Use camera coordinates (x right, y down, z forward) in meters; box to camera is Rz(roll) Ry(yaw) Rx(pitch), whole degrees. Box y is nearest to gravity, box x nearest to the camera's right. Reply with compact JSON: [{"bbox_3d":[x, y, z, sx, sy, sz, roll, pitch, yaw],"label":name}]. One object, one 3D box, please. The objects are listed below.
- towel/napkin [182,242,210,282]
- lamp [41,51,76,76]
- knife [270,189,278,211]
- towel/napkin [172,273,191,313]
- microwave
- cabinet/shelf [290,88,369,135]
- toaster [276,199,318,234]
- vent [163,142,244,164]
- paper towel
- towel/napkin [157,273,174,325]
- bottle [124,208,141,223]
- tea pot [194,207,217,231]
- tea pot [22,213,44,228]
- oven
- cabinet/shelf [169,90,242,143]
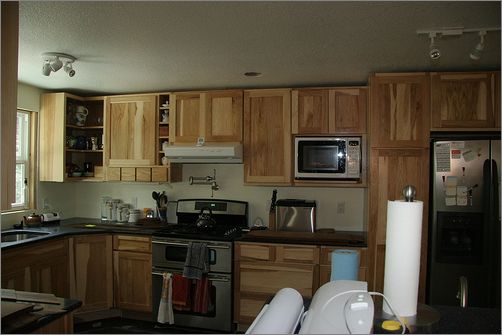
[{"bbox_3d":[-0.605,1.017,4.217,0.317,0.373,0.103,2,-5,11],"label":"towel/napkin"},{"bbox_3d":[-1.869,-0.979,3.741,0.299,0.182,0.340,0,-1,-27],"label":"lamp"},{"bbox_3d":[0.273,0.399,4.729,0.087,0.258,0.278,0,-1,6],"label":"knife"},{"bbox_3d":[-0.761,1.386,4.290,0.291,0.341,0.099,1,-3,17],"label":"towel/napkin"},{"bbox_3d":[0.839,-0.107,4.376,0.849,0.512,0.469,0,-1,16],"label":"microwave"},{"bbox_3d":[0.879,-0.641,4.370,1.006,0.583,0.497,1,-1,14],"label":"cabinet/shelf"},{"bbox_3d":[0.567,0.592,4.699,0.485,0.383,0.261,-1,0,26],"label":"toaster"},{"bbox_3d":[-0.556,-0.164,4.690,0.947,0.237,0.473,0,-1,12],"label":"vent"},{"bbox_3d":[0.854,0.512,2.186,0.201,0.653,0.152,0,-1,13],"label":"paper towel"},{"bbox_3d":[-0.961,1.486,4.336,0.178,0.612,0.213,0,-1,-4],"label":"towel/napkin"},{"bbox_3d":[-1.528,0.632,4.989,0.169,0.144,0.160,0,-1,8],"label":"bottle"},{"bbox_3d":[-0.559,0.636,4.694,0.221,0.214,0.236,3,6,0],"label":"tea pot"},{"bbox_3d":[-2.654,0.634,4.657,0.225,0.140,0.150,0,1,-12],"label":"tea pot"},{"bbox_3d":[-0.619,1.270,4.745,1.265,1.297,0.948,-2,-7,13],"label":"oven"},{"bbox_3d":[-0.517,-0.606,4.629,0.709,0.473,0.236,0,-2,12],"label":"cabinet/shelf"}]
